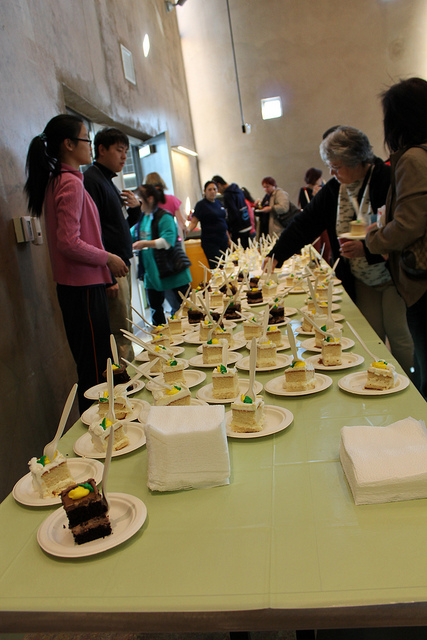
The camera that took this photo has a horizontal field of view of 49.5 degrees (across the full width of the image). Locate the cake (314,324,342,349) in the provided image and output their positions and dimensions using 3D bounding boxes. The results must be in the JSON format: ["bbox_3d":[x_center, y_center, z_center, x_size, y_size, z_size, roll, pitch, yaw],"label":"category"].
[{"bbox_3d":[0.460,0.064,1.845,0.104,0.083,0.110,-2,7,0],"label":"cake"}]

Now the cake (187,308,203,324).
[{"bbox_3d":[-0.117,-0.022,2.743,0.082,0.070,0.082,-1,5,4],"label":"cake"}]

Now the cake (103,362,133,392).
[{"bbox_3d":[-0.348,0.215,1.727,0.074,0.122,0.120,-3,3,-1],"label":"cake"}]

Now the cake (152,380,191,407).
[{"bbox_3d":[-0.130,0.230,1.416,0.092,0.058,0.092,-3,10,-7],"label":"cake"}]

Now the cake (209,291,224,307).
[{"bbox_3d":[0.011,-0.147,3.155,0.093,0.093,0.092,-5,11,-13],"label":"cake"}]

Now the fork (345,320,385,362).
[{"bbox_3d":[0.635,0.088,1.947,0.026,0.178,0.025,-37,8,-40],"label":"fork"}]

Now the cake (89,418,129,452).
[{"bbox_3d":[-0.291,0.315,1.277,0.102,0.095,0.083,-11,13,-16],"label":"cake"}]

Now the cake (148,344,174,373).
[{"bbox_3d":[-0.230,0.155,1.962,0.114,0.112,0.111,-1,15,2],"label":"cake"}]

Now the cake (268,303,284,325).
[{"bbox_3d":[0.339,-0.024,2.432,0.080,0.089,0.092,-8,10,-40],"label":"cake"}]

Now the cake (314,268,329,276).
[{"bbox_3d":[0.775,-0.343,3.307,0.108,0.043,0.109,0,6,15],"label":"cake"}]

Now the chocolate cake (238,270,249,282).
[{"bbox_3d":[0.225,-0.353,3.796,0.081,0.051,0.082,0,8,3],"label":"chocolate cake"}]

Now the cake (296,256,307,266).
[{"bbox_3d":[0.814,-0.540,4.267,0.129,0.060,0.176,-1,16,10],"label":"cake"}]

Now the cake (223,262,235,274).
[{"bbox_3d":[0.145,-0.473,4.244,0.115,0.117,0.115,0,4,1],"label":"cake"}]

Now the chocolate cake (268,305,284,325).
[{"bbox_3d":[0.335,-0.025,2.432,0.092,0.085,0.085,-4,5,-40],"label":"chocolate cake"}]

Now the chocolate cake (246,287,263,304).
[{"bbox_3d":[0.272,-0.153,3.069,0.084,0.098,0.096,-8,7,-44],"label":"chocolate cake"}]

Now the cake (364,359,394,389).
[{"bbox_3d":[0.515,0.166,1.447,0.078,0.075,0.077,1,4,0],"label":"cake"}]

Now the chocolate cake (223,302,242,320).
[{"bbox_3d":[0.111,-0.047,2.745,0.116,0.121,0.088,0,3,-5],"label":"chocolate cake"}]

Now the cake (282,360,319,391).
[{"bbox_3d":[0.295,0.185,1.562,0.096,0.090,0.102,5,13,28],"label":"cake"}]

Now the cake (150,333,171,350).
[{"bbox_3d":[-0.246,0.107,2.182,0.065,0.056,0.064,-2,0,-18],"label":"cake"}]

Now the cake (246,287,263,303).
[{"bbox_3d":[0.274,-0.164,3.069,0.083,0.098,0.100,-3,5,-27],"label":"cake"}]

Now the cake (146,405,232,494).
[{"bbox_3d":[-0.056,0.293,1.100,0.179,0.135,0.181,-2,14,1],"label":"cake"}]

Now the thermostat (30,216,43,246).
[{"bbox_3d":[-1.169,-0.575,3.036,0.060,0.180,0.276,-11,13,-17],"label":"thermostat"}]

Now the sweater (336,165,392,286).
[{"bbox_3d":[0.855,-0.554,2.743,0.271,0.658,0.296,0,14,6],"label":"sweater"}]

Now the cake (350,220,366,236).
[{"bbox_3d":[0.738,-0.468,2.361,0.074,0.057,0.075,1,14,6],"label":"cake"}]

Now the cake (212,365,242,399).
[{"bbox_3d":[0.041,0.210,1.583,0.105,0.118,0.102,0,9,5],"label":"cake"}]

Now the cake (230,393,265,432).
[{"bbox_3d":[0.098,0.250,1.289,0.089,0.080,0.123,3,7,10],"label":"cake"}]

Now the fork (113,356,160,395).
[{"bbox_3d":[-0.292,0.216,1.758,0.227,0.010,0.031,-42,6,-39],"label":"fork"}]

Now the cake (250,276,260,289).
[{"bbox_3d":[0.293,-0.263,3.259,0.024,0.067,0.069,16,-4,6],"label":"cake"}]

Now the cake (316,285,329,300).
[{"bbox_3d":[0.651,-0.158,2.760,0.077,0.079,0.079,-1,6,13],"label":"cake"}]

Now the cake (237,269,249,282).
[{"bbox_3d":[0.239,-0.360,3.777,0.104,0.100,0.102,0,6,1],"label":"cake"}]

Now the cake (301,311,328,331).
[{"bbox_3d":[0.491,0.005,2.209,0.094,0.080,0.095,0,9,-1],"label":"cake"}]

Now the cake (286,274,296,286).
[{"bbox_3d":[0.590,-0.307,3.507,0.064,0.085,0.088,3,14,14],"label":"cake"}]

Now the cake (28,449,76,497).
[{"bbox_3d":[-0.396,0.367,1.122,0.085,0.088,0.097,11,26,42],"label":"cake"}]

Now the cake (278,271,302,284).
[{"bbox_3d":[0.617,-0.348,3.858,0.134,0.038,0.152,0,18,26],"label":"cake"}]

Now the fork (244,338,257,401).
[{"bbox_3d":[0.106,0.145,1.323,0.037,0.190,0.028,-1,-6,19],"label":"fork"}]

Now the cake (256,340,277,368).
[{"bbox_3d":[0.202,0.133,1.824,0.091,0.113,0.092,-2,5,-12],"label":"cake"}]

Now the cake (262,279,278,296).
[{"bbox_3d":[0.387,-0.221,3.160,0.084,0.108,0.106,4,9,29],"label":"cake"}]

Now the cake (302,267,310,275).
[{"bbox_3d":[0.777,-0.399,3.836,0.020,0.067,0.070,1,12,-16],"label":"cake"}]

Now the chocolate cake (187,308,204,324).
[{"bbox_3d":[-0.112,-0.023,2.748,0.072,0.078,0.090,-1,0,-2],"label":"chocolate cake"}]

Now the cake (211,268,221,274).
[{"bbox_3d":[0.023,-0.449,4.203,0.103,0.028,0.100,-1,10,4],"label":"cake"}]

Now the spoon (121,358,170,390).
[{"bbox_3d":[-0.259,0.210,1.773,0.038,0.030,0.392,25,1,-25],"label":"spoon"}]

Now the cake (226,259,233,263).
[{"bbox_3d":[0.155,-0.583,4.614,0.045,0.034,0.046,0,4,-1],"label":"cake"}]

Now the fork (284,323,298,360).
[{"bbox_3d":[0.309,0.092,1.846,0.031,0.028,0.185,-37,34,18],"label":"fork"}]

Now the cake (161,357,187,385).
[{"bbox_3d":[-0.151,0.198,1.753,0.068,0.074,0.102,-1,7,-6],"label":"cake"}]

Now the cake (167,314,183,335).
[{"bbox_3d":[-0.216,0.028,2.587,0.087,0.110,0.086,-6,9,-21],"label":"cake"}]

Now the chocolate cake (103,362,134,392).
[{"bbox_3d":[-0.350,0.209,1.736,0.099,0.116,0.117,-1,-1,-6],"label":"chocolate cake"}]

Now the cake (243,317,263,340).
[{"bbox_3d":[0.187,0.052,2.252,0.101,0.096,0.099,-13,21,-18],"label":"cake"}]

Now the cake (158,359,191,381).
[{"bbox_3d":[-0.154,0.193,1.771,0.091,0.068,0.089,-10,23,-28],"label":"cake"}]

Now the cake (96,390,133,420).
[{"bbox_3d":[-0.326,0.267,1.514,0.087,0.062,0.088,-1,9,-7],"label":"cake"}]

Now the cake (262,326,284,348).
[{"bbox_3d":[0.281,0.072,2.170,0.081,0.138,0.090,-5,6,-16],"label":"cake"}]

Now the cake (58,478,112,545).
[{"bbox_3d":[-0.249,0.374,0.899,0.082,0.118,0.126,-15,8,-13],"label":"cake"}]
